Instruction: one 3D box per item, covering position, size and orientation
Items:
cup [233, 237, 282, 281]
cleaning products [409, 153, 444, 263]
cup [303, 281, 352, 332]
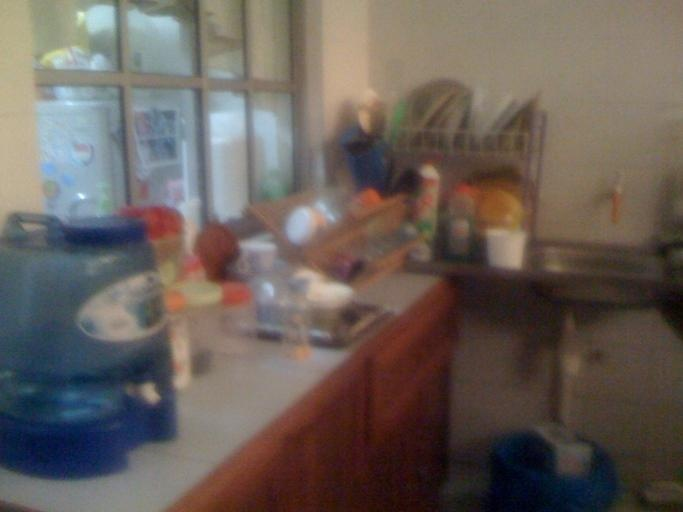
[{"bbox_3d":[-0.086,0.002,0.547,0.034,0.021,0.045,-4,10,16],"label":"cup"},{"bbox_3d":[0.073,-0.047,0.479,0.020,0.088,0.021,-37,54,-22],"label":"cleaning products"},{"bbox_3d":[-0.013,0.054,0.592,0.052,0.051,0.055,-2,-5,0],"label":"cup"}]
